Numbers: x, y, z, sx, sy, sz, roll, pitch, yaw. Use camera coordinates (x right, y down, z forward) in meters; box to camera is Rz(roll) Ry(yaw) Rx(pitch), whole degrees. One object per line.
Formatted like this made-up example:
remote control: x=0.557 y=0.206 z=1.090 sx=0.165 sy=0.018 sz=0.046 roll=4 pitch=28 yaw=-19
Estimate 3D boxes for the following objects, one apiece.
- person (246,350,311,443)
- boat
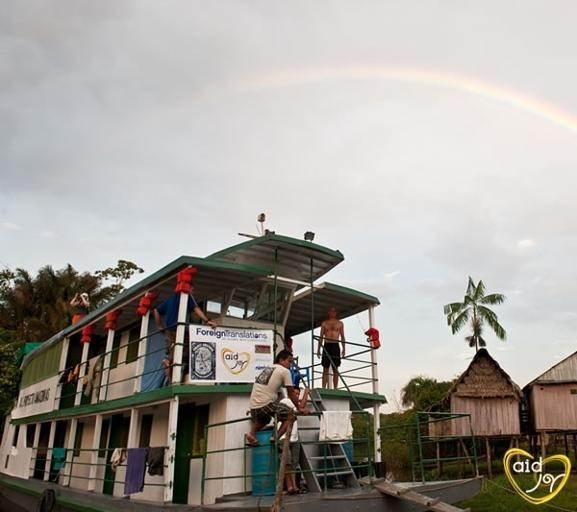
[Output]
person: x=-0.262 y=2.513 z=8.636 sx=0.672 sy=1.639 sz=1.150 roll=20 pitch=-30 yaw=-38
boat: x=-4.092 y=4.802 z=16.023 sx=6.255 sy=5.633 sz=17.718 roll=16 pitch=-29 yaw=-35
